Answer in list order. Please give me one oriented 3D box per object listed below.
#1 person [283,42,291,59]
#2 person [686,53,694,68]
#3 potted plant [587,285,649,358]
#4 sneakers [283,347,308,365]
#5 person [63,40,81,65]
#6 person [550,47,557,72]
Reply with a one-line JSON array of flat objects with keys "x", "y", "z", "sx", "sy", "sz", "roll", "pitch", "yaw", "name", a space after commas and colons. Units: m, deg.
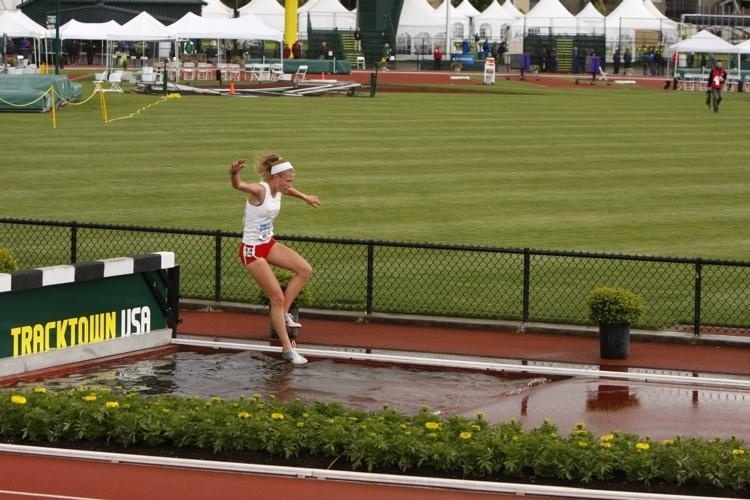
[{"x": -4.568, "y": -10.364, "z": 70.369, "sx": 0.433, "sy": 0.636, "sz": 1.074, "roll": -2, "pitch": 10, "yaw": -4, "name": "person"}, {"x": 16.740, "y": -9.991, "z": 71.148, "sx": 0.330, "sy": 0.717, "sz": 1.599, "roll": 1, "pitch": 10, "yaw": 11, "name": "person"}, {"x": 3.720, "y": 1.108, "z": 20.770, "sx": 1.022, "sy": 1.141, "sz": 1.092, "roll": 1, "pitch": 2, "yaw": 31, "name": "potted plant"}, {"x": -1.176, "y": 1.550, "z": 19.809, "sx": 0.371, "sy": 0.132, "sz": 0.191, "roll": 19, "pitch": 26, "yaw": 21, "name": "sneakers"}, {"x": -18.943, "y": -12.371, "z": 84.086, "sx": 1.040, "sy": 1.405, "sz": 3.003, "roll": -3, "pitch": 10, "yaw": -13, "name": "person"}, {"x": 10.442, "y": -11.054, "z": 78.446, "sx": 0.430, "sy": 1.264, "sz": 0.594, "roll": 0, "pitch": 10, "yaw": 7, "name": "person"}]
